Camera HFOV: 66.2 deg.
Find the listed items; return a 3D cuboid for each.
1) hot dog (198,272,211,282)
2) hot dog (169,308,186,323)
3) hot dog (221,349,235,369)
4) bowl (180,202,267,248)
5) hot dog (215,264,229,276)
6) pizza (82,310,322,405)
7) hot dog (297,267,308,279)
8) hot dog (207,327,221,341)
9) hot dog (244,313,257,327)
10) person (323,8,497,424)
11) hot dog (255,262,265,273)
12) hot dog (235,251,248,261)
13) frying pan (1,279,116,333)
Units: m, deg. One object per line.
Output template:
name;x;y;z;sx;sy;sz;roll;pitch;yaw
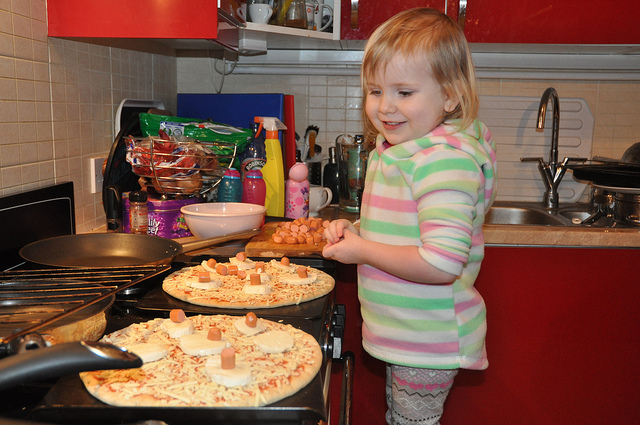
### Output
hot dog;-0.308;0.172;1.299;0.030;0.022;0.026;2;21;3
hot dog;-0.323;0.232;1.103;0.029;0.028;0.026;9;-1;-32
hot dog;-0.184;0.292;0.969;0.031;0.033;0.030;-1;4;-4
bowl;-0.316;-0.009;1.642;0.240;0.140;0.316;14;19;41
hot dog;-0.277;0.162;1.376;0.034;0.029;0.028;7;14;42
pizza;-0.233;0.284;1.052;0.467;0.097;0.304;1;11;-2
hot dog;-0.051;0.166;1.344;0.024;0.022;0.024;0;1;-1
hot dog;-0.227;0.261;1.046;0.025;0.022;0.024;2;7;-5
hot dog;-0.155;0.241;1.097;0.021;0.016;0.030;13;21;-10
person;0.257;0.053;1.301;0.379;1.152;0.342;9;14;34
hot dog;-0.172;0.160;1.395;0.024;0.022;0.023;-1;3;-10
hot dog;-0.240;0.136;1.482;0.041;0.039;0.023;6;45;5
frying pan;-0.573;0.181;1.023;0.233;0.045;0.204;7;12;24
